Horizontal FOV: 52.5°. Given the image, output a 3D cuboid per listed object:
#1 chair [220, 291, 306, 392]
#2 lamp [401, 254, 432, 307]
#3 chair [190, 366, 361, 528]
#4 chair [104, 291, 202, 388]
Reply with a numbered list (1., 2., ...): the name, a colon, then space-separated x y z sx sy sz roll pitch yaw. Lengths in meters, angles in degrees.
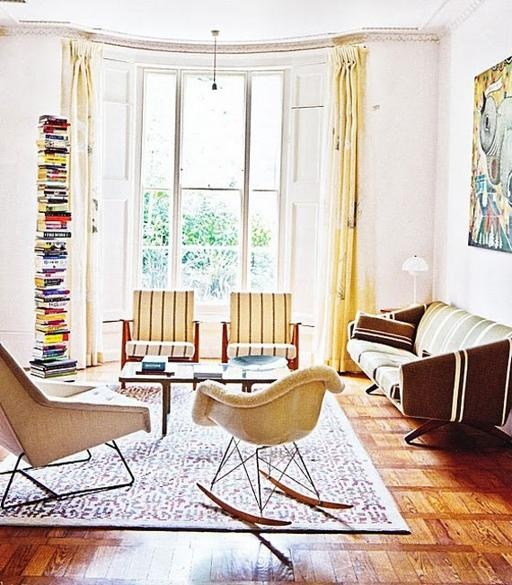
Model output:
1. chair: 0.024 0.422 4.677 0.821 0.808 0.873 2 2 43
2. lamp: 1.533 -0.122 5.014 0.250 0.480 0.565 2 3 18
3. chair: 0.063 0.656 2.396 0.780 0.670 0.720 -2 -4 16
4. chair: -0.834 0.396 4.665 0.765 0.778 0.729 2 3 7
